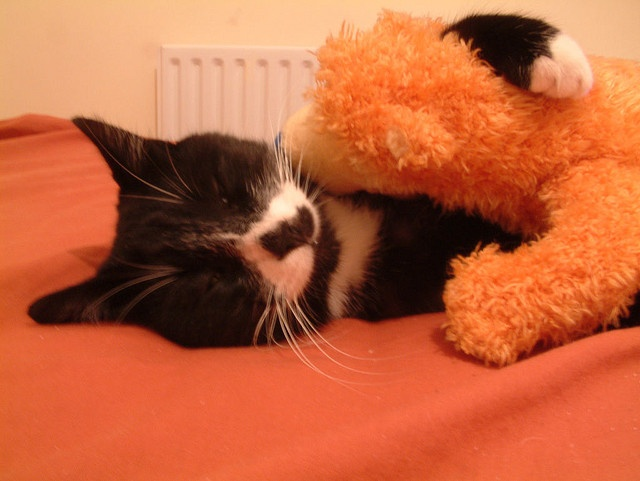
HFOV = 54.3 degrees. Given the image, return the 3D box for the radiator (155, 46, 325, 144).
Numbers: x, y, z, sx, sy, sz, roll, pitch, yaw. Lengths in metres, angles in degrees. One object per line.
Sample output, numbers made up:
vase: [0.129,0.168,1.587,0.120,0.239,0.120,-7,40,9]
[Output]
radiator: [-0.220,-0.369,1.545,0.352,0.270,0.026,0,7,-7]

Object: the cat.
cat: [-0.142,-0.070,1.257,1.193,0.659,0.388,-22,33,30]
